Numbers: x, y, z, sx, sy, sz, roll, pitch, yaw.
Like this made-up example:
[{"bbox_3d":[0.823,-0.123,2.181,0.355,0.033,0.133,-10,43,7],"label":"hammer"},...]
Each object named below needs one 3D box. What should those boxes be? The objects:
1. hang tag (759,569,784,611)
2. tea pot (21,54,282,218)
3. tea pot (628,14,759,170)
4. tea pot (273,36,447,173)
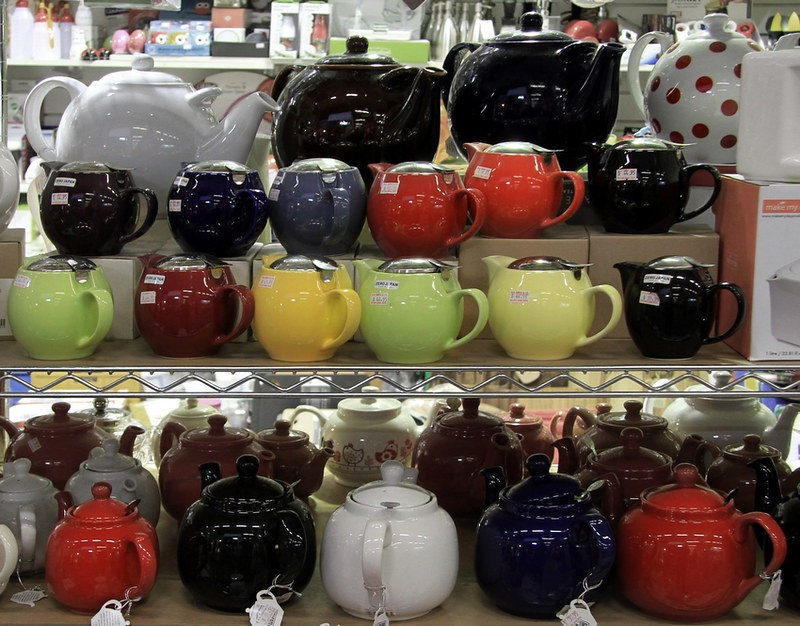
[{"bbox_3d":[0.522,0.382,0.918,0.020,0.070,0.052,10,17,34],"label":"hang tag"},{"bbox_3d":[-0.502,-0.329,1.275,0.462,0.327,0.319,5,2,10],"label":"tea pot"},{"bbox_3d":[0.547,-0.419,1.237,0.208,0.275,0.258,-9,21,-39],"label":"tea pot"},{"bbox_3d":[-0.051,-0.335,1.182,0.290,0.214,0.204,4,8,33],"label":"tea pot"}]
